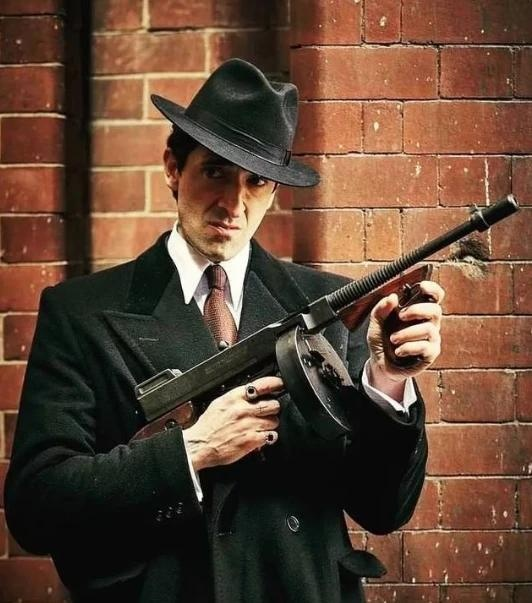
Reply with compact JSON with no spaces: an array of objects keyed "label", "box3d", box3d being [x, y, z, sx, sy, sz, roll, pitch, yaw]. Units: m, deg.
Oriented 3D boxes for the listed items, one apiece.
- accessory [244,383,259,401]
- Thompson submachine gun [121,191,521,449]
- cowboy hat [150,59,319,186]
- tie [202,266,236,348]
[{"label":"accessory","box3d":[-0.039,0.238,3.087,0.030,0.018,0.046,-2,91,4]},{"label":"Thompson submachine gun","box3d":[0.182,0.077,3.323,1.147,0.273,0.489,-27,89,3]},{"label":"cowboy hat","box3d":[-0.060,-0.481,3.218,0.174,0.364,0.378,-61,26,11]},{"label":"tie","box3d":[-0.127,0.019,3.272,0.062,0.069,0.271,-7,57,3]}]
